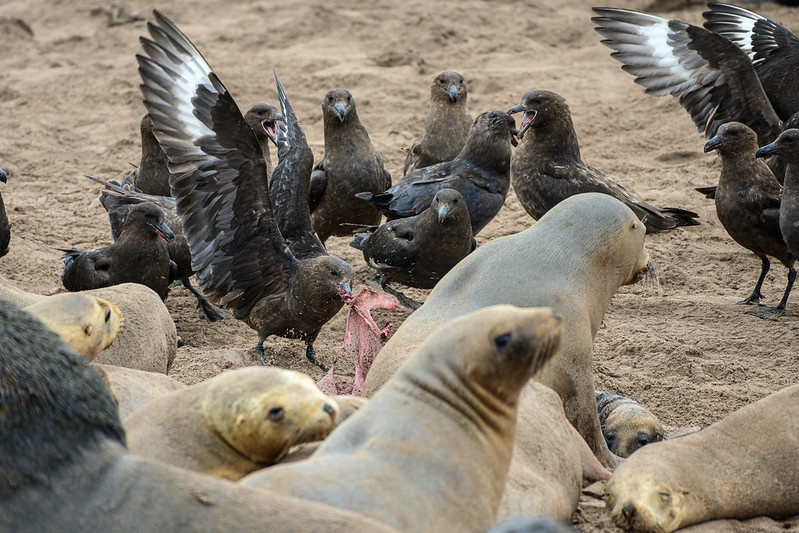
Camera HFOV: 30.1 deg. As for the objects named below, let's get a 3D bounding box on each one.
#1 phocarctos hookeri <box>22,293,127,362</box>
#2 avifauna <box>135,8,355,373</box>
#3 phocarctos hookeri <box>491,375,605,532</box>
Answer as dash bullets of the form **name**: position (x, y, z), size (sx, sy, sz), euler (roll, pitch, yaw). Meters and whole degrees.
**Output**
- **phocarctos hookeri**: position (-2.604, 0.489, 12.259), size (0.833, 0.458, 0.413), euler (14, 54, -47)
- **avifauna**: position (-2.070, -0.553, 16.237), size (0.840, 2.305, 2.886), euler (0, 3, -43)
- **phocarctos hookeri**: position (1.202, 1.627, 12.502), size (0.878, 1.093, 0.425), euler (-10, 6, -44)
